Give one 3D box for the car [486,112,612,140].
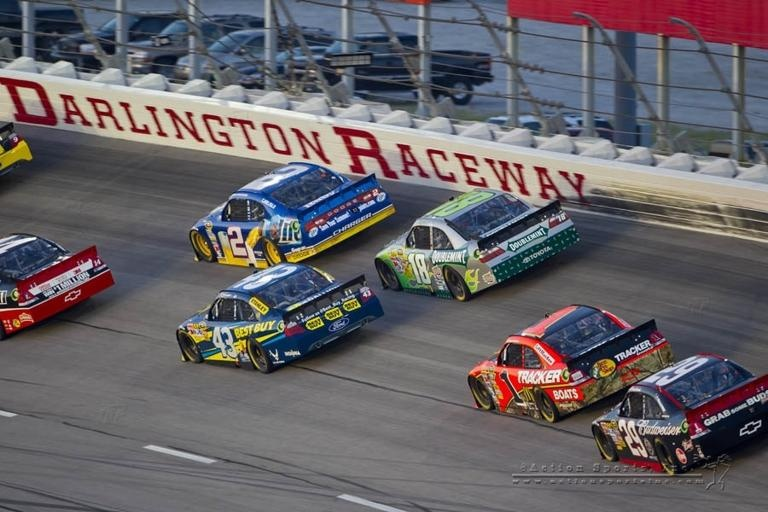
[{"bbox_3d":[5.496,-3.910,34.484,3.946,0.832,1.759,4,10,37],"label":"car"}]
